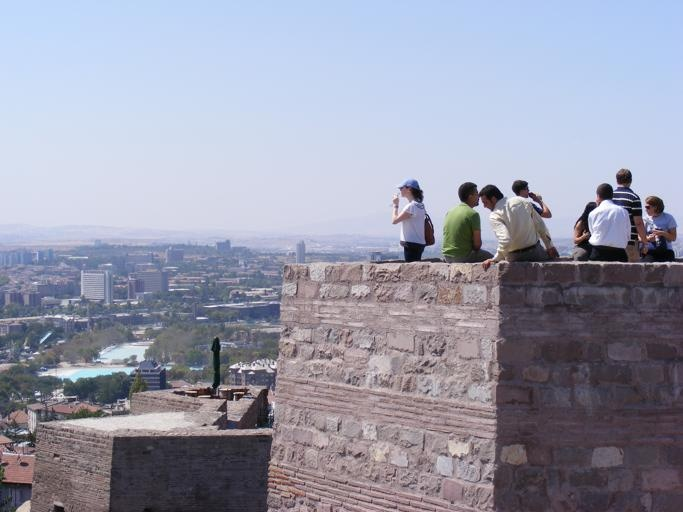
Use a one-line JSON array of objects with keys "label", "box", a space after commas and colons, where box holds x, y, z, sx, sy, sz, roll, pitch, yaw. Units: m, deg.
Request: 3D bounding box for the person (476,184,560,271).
[{"label": "person", "box": [1.645, -0.257, 13.219, 0.750, 0.611, 0.340, -4, 4, -35]}]

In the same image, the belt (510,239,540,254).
[{"label": "belt", "box": [1.731, -0.096, 13.166, 0.305, 0.109, 0.066, -3, 3, -24]}]

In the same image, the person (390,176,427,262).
[{"label": "person", "box": [0.680, -0.356, 14.038, 0.323, 0.803, 0.617, -2, 3, 3]}]

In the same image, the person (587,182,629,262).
[{"label": "person", "box": [2.567, -0.323, 13.435, 0.398, 0.745, 0.434, -2, 3, 10]}]

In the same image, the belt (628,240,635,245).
[{"label": "belt", "box": [2.818, -0.137, 13.610, 0.028, 0.052, 0.106, 0, 3, 37]}]
